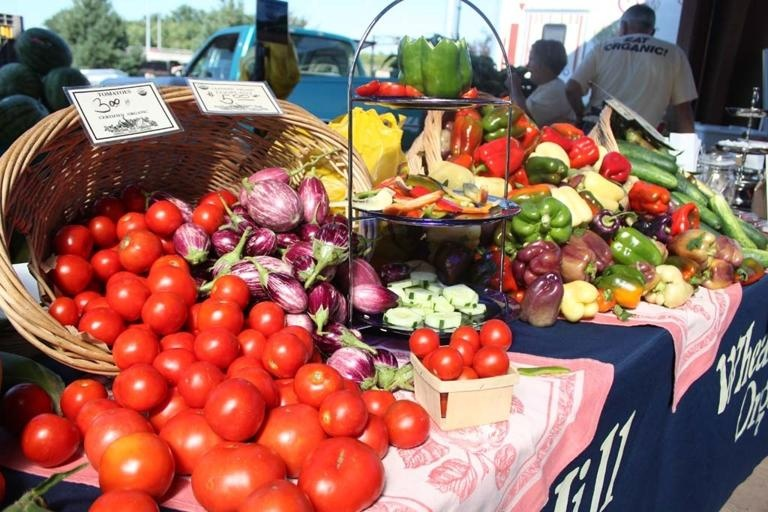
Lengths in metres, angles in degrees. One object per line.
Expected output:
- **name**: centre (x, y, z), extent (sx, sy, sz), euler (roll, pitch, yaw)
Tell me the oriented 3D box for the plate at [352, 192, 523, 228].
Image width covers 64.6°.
- **plate**: centre (0.241, -0.178, 2.478), extent (0.547, 0.132, 0.385), euler (-2, 17, -2)
